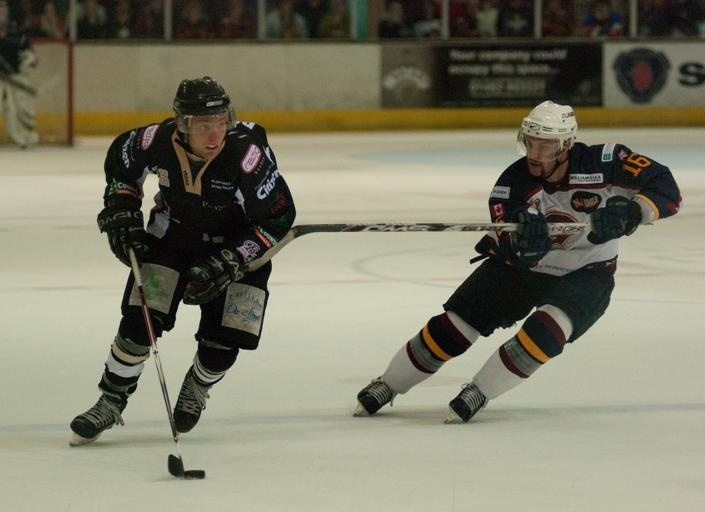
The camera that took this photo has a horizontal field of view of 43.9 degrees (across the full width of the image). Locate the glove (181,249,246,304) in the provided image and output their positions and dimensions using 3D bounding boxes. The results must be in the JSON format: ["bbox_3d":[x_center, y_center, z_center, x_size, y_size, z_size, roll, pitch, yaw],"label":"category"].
[{"bbox_3d":[-0.500,0.073,3.196,0.241,0.113,0.157,-29,47,-9],"label":"glove"}]

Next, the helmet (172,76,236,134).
[{"bbox_3d":[-0.531,-0.543,3.193,0.202,0.200,0.233,-7,6,-38],"label":"helmet"}]

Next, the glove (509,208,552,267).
[{"bbox_3d":[0.682,-0.066,3.437,0.146,0.245,0.209,2,17,-14],"label":"glove"}]

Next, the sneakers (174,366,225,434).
[{"bbox_3d":[-0.593,0.562,3.381,0.086,0.226,0.138,28,-20,-20],"label":"sneakers"}]

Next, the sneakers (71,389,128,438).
[{"bbox_3d":[-0.915,0.588,3.199,0.126,0.147,0.205,12,17,17],"label":"sneakers"}]

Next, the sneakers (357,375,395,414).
[{"bbox_3d":[0.085,0.560,3.522,0.100,0.061,0.161,34,59,20],"label":"sneakers"}]

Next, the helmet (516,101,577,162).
[{"bbox_3d":[0.761,-0.510,3.489,0.288,0.229,0.206,-10,26,-22],"label":"helmet"}]
